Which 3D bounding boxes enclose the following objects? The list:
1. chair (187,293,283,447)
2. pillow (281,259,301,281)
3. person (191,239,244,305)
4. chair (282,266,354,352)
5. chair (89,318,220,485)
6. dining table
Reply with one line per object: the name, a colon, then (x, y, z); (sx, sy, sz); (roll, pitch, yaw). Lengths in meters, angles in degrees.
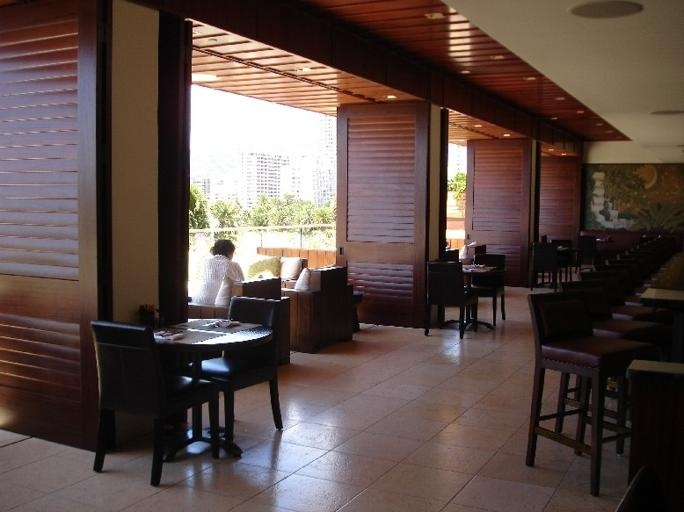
chair: (-0.942, 0.975, 4.703); (0.810, 1.062, 0.830); (1, 5, 14)
pillow: (-0.803, 0.235, 8.968); (0.327, 0.219, 0.123); (7, -28, 48)
person: (-1.362, 0.214, 6.385); (0.522, 0.715, 0.449); (12, 9, 21)
chair: (-0.287, 0.725, 7.187); (0.583, 0.980, 1.070); (3, 4, 31)
chair: (-1.335, 0.992, 4.068); (0.700, 0.993, 0.741); (-1, -2, 38)
dining table: (-1.020, 0.980, 4.351); (0.954, 0.729, 0.957); (14, 19, 38)
